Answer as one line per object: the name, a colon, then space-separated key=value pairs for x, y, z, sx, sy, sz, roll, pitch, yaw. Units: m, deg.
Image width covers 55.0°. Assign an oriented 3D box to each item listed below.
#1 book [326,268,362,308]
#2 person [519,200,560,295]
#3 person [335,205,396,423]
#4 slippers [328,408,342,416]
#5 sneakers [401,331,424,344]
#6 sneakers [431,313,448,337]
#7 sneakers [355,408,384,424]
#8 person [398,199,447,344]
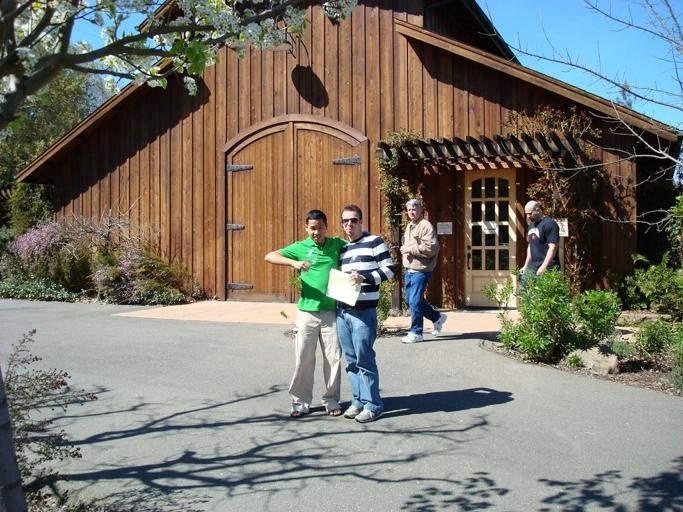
book: x=0.014 y=0.290 z=6.309 sx=0.321 sy=0.340 sz=0.238 roll=0 pitch=8 yaw=7
person: x=2.742 y=-0.191 z=9.096 sx=0.552 sy=1.107 sz=0.842 roll=-2 pitch=8 yaw=-5
person: x=0.220 y=0.537 z=6.509 sx=0.531 sy=2.032 sz=0.626 roll=-4 pitch=8 yaw=-25
slippers: x=-0.064 y=1.551 z=6.528 sx=0.065 sy=0.035 sz=0.100 roll=1 pitch=0 yaw=30
sneakers: x=1.011 y=1.154 z=9.374 sx=0.321 sy=0.184 sz=0.136 roll=2 pitch=-2 yaw=-18
sneakers: x=1.435 y=1.003 z=9.680 sx=0.174 sy=0.462 sz=0.146 roll=-1 pitch=25 yaw=-3
sneakers: x=0.256 y=1.525 z=6.325 sx=0.252 sy=0.124 sz=0.108 roll=0 pitch=1 yaw=-16
person: x=1.156 y=0.214 z=9.452 sx=0.591 sy=2.036 sz=0.753 roll=0 pitch=7 yaw=7
